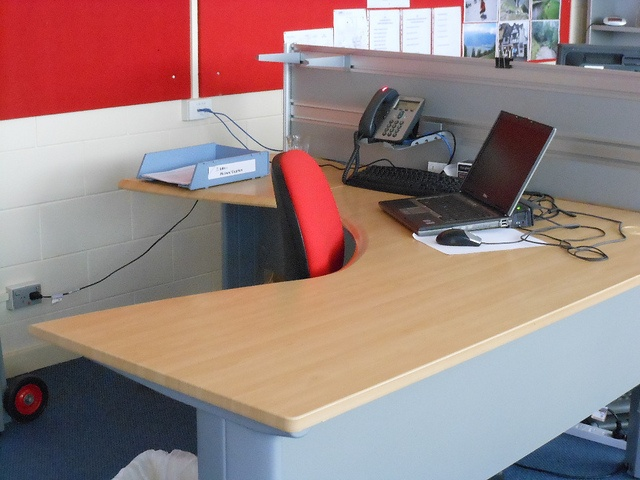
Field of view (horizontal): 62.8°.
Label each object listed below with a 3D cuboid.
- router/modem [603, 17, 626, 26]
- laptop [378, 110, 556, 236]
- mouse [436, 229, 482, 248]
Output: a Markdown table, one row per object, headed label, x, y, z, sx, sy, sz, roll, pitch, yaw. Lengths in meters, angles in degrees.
| label | x | y | z | sx | sy | sz | roll | pitch | yaw |
| --- | --- | --- | --- | --- | --- | --- | --- | --- | --- |
| router/modem | 2.676 | -1.987 | 4.785 | 0.181 | 0.079 | 0.310 | 14 | 26 | 23 |
| laptop | 0.534 | -0.247 | 1.896 | 0.596 | 0.402 | 0.419 | -6 | 23 | -20 |
| mouse | 0.438 | -0.008 | 1.636 | 0.109 | 0.035 | 0.058 | -1 | 19 | 0 |
